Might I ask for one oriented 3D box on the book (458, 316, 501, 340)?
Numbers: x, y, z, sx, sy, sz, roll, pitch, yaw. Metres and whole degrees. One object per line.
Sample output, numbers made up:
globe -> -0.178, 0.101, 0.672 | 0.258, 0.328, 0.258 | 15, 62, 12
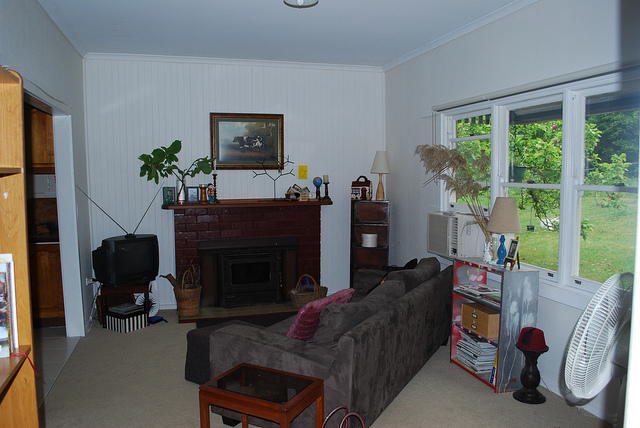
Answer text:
book -> 1.617, 1.169, 4.489 | 0.187, 0.087, 0.267 | 4, -1, -25

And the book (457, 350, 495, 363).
book -> 1.647, 1.487, 4.620 | 0.210, 0.049, 0.208 | 2, 1, -24

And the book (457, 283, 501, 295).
book -> 1.693, 0.799, 4.754 | 0.371, 0.041, 0.362 | -2, 4, -8

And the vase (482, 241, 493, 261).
vase -> 1.790, 0.387, 4.710 | 0.095, 0.195, 0.133 | 0, 5, 20

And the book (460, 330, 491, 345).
book -> 1.625, 1.283, 4.597 | 0.241, 0.057, 0.239 | 7, -3, -13

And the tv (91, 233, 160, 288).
tv -> -2.757, 0.636, 6.058 | 0.772, 0.664, 0.825 | -1, 2, 8

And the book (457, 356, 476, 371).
book -> 1.560, 1.588, 4.694 | 0.156, 0.037, 0.156 | 18, -3, -8

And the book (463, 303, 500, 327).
book -> 1.671, 1.006, 4.500 | 0.172, 0.085, 0.258 | 0, 2, -17

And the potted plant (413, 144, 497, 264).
potted plant -> 1.634, -0.184, 5.185 | 0.768, 1.304, 1.662 | -3, 5, -15

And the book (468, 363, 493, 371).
book -> 1.677, 1.583, 4.585 | 0.109, 0.026, 0.108 | 2, -2, -29

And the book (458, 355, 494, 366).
book -> 1.647, 1.553, 4.611 | 0.292, 0.034, 0.100 | 1, 5, 30

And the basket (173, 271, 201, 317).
basket -> -1.852, 1.193, 6.305 | 0.400, 0.647, 0.433 | 2, -3, -43

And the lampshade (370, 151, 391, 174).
lampshade -> 0.902, -0.776, 6.616 | 0.307, 0.331, 0.315 | -4, 9, -20

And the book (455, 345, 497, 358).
book -> 1.647, 1.438, 4.625 | 0.220, 0.052, 0.221 | 3, 2, -8

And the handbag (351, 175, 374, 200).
handbag -> 0.622, -0.403, 6.822 | 0.377, 0.501, 0.255 | 1, 9, 3

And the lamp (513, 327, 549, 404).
lamp -> 2.036, 1.447, 4.263 | 0.306, 0.634, 0.312 | 3, -2, -8

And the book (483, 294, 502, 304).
book -> 1.745, 0.853, 4.407 | 0.078, 0.054, 0.319 | -3, 4, -13

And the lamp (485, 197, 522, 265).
lamp -> 1.846, 0.176, 4.460 | 0.342, 0.664, 0.344 | 3, 6, 17

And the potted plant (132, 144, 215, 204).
potted plant -> -2.115, -0.640, 6.421 | 0.970, 0.682, 0.971 | -1, -1, 10

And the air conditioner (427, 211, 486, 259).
air conditioner -> 1.656, 0.249, 5.425 | 0.467, 0.641, 0.766 | -2, 3, -24

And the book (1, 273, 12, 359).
book -> -1.952, 0.619, 2.698 | 0.058, 0.522, 0.045 | -3, 5, -20
